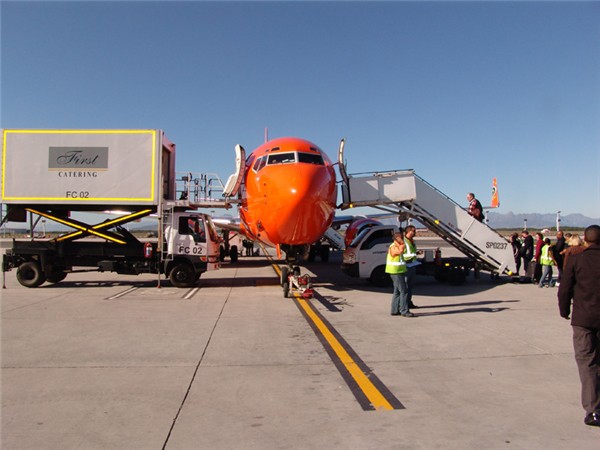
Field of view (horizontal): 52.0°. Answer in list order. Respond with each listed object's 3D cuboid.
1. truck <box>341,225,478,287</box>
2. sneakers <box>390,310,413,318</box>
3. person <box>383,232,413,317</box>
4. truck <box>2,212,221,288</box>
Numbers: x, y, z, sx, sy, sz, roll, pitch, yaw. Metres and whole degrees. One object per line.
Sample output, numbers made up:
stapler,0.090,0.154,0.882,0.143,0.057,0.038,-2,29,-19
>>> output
truck,3.434,1.094,19.822,4.354,1.814,1.764,1,-4,-13
sneakers,2.389,2.067,14.371,0.519,0.209,0.175,-5,-2,15
person,2.341,1.142,14.408,0.623,1.909,0.533,2,9,10
truck,-5.777,0.878,19.227,6.354,2.197,2.584,0,1,-3
